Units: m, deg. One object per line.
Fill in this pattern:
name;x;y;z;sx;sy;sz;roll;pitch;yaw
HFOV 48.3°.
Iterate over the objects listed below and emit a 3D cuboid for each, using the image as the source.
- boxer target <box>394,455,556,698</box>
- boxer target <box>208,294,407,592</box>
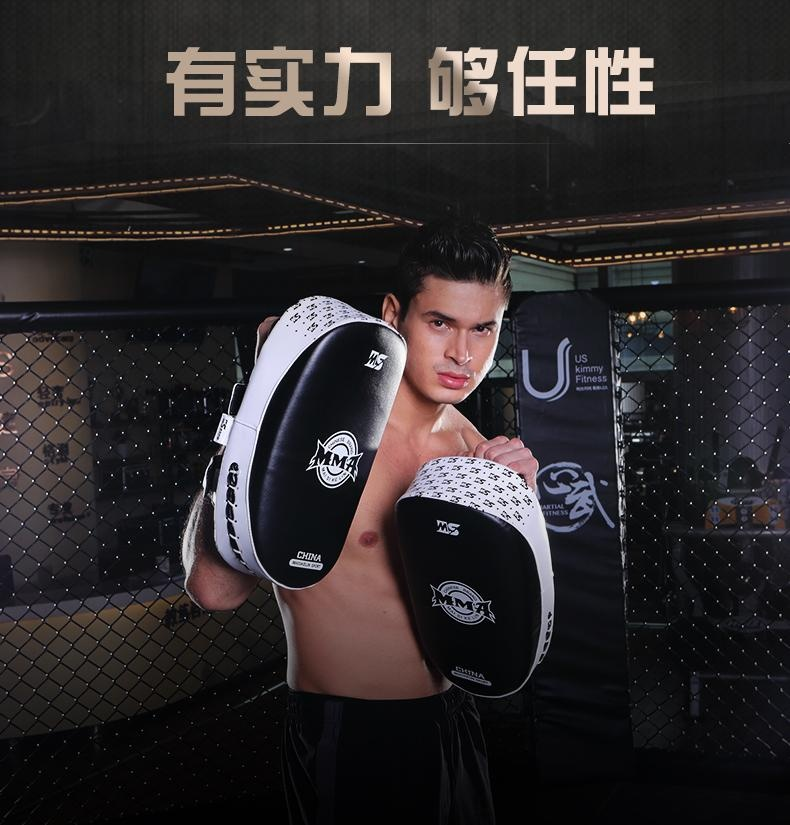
boxer target;0.150;0.326;1.705;0.326;0.466;0.132;8;13;9
boxer target;-0.224;0.047;1.757;0.384;0.530;0.209;20;0;-16
